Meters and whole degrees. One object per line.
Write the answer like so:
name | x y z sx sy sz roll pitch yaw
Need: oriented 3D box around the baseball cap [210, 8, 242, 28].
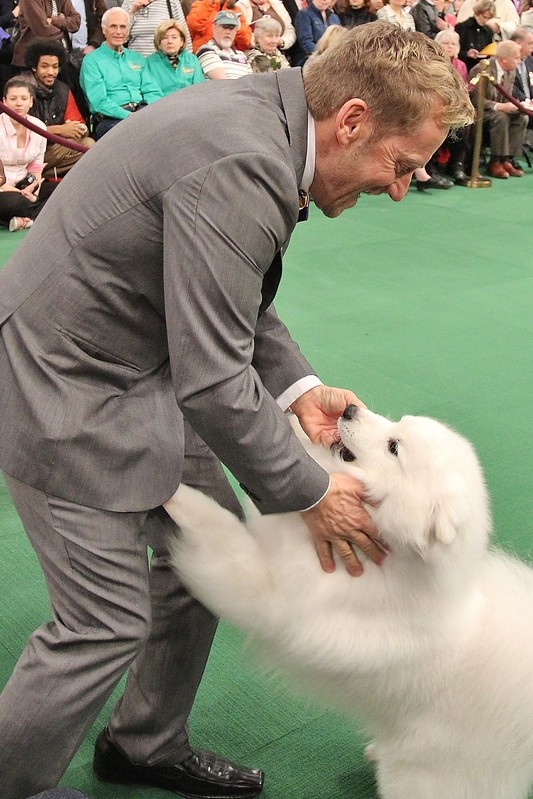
baseball cap | -0.519 -5.101 8.807 0.250 0.158 0.309 7 11 -12
